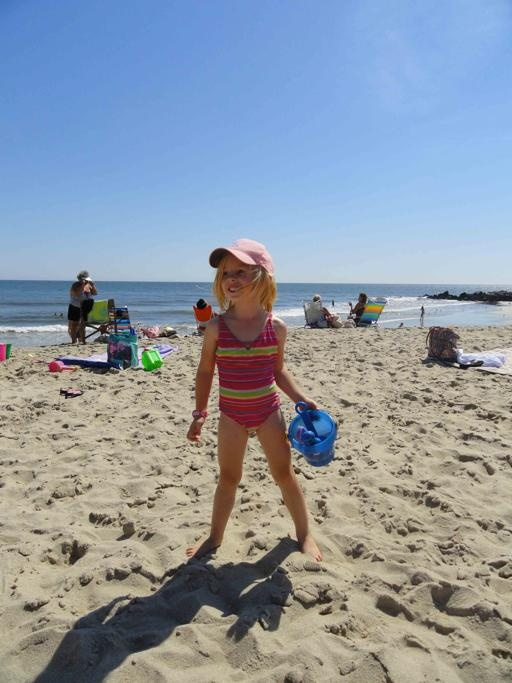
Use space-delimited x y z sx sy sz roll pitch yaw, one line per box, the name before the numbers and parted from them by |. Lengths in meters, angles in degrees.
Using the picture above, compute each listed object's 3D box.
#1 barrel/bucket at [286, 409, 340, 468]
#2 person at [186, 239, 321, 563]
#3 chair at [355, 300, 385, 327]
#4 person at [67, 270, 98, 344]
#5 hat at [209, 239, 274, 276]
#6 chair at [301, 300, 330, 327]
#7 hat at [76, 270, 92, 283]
barrel/bucket | 0.278 0.443 2.555 0.218 0.274 0.189 -18 -45 22
person | -0.033 0.280 2.596 0.635 1.486 0.369 -2 10 1
chair | 2.891 -0.755 13.757 0.494 0.255 0.800 13 -34 4
person | -3.028 -0.558 9.612 0.504 1.268 1.132 -5 10 -17
hat | -0.066 -0.371 2.491 0.283 0.165 0.151 -2 10 -4
chair | 1.485 -0.626 13.735 0.473 0.694 0.226 -1 19 11
hat | -2.929 -1.071 9.410 0.182 0.195 0.145 -4 10 -13
